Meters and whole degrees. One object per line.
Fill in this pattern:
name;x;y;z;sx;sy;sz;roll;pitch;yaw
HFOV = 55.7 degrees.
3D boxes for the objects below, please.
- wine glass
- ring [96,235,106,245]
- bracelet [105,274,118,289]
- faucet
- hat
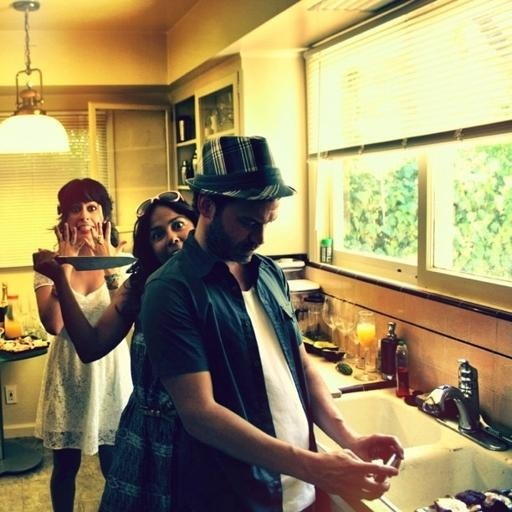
wine glass;0.453;0.402;2.295;0.100;0.213;0.339;-1;3;-12
ring;-0.822;-0.084;2.529;0.037;0.052;0.020;-13;-31;2
bracelet;-0.682;0.122;2.292;0.057;0.069;0.066;-1;4;-3
faucet;0.643;0.450;1.554;0.200;0.242;0.076;-5;6;-22
hat;-0.026;-0.159;1.003;0.133;0.099;0.181;-3;2;-37
